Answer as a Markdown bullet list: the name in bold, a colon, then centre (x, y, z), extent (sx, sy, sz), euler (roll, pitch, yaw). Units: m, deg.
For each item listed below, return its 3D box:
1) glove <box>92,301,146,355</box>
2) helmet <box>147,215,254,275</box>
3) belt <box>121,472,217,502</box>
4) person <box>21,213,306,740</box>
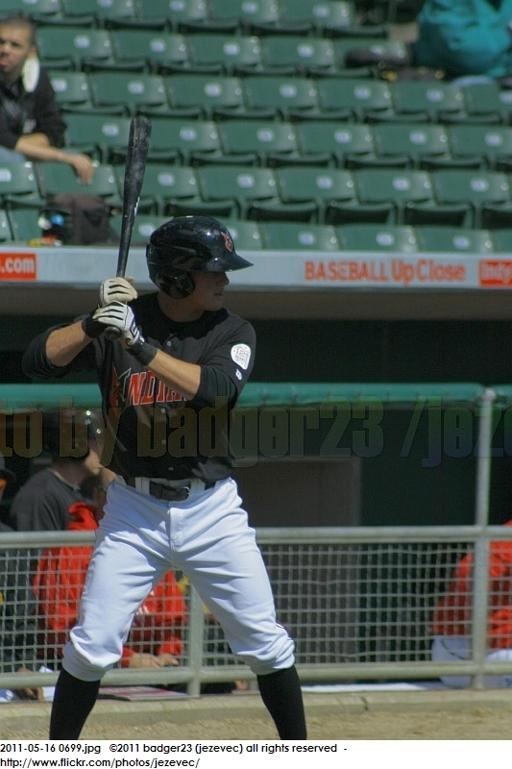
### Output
- **glove**: centre (-0.376, -0.159, 3.300), extent (0.157, 0.102, 0.061), euler (26, -55, -39)
- **helmet**: centre (-0.164, -0.424, 3.535), extent (0.345, 0.143, 0.219), euler (4, 22, 9)
- **belt**: centre (-0.233, 0.302, 3.413), extent (0.220, 0.069, 0.045), euler (-2, 7, -5)
- **person**: centre (-0.233, 0.368, 3.455), extent (1.037, 1.647, 0.598), euler (-1, -1, 18)
